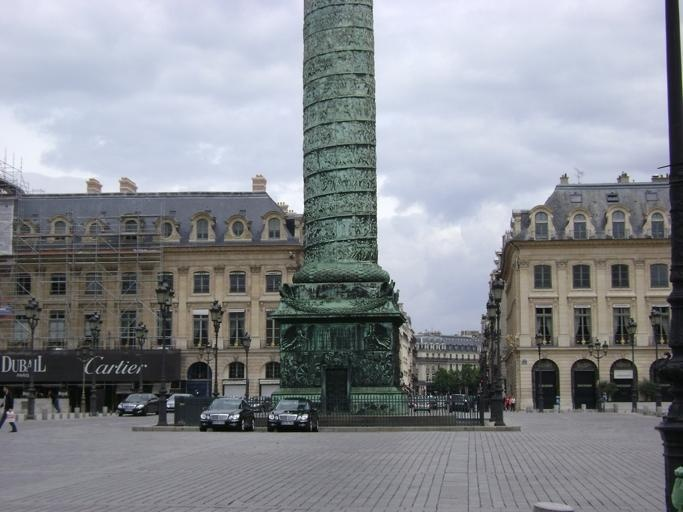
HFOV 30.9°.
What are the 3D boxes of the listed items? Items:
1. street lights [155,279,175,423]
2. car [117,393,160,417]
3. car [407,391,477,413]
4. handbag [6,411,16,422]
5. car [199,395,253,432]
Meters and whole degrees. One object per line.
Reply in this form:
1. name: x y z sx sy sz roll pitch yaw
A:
1. street lights: -9.392 5.236 65.274 0.963 7.706 0.820 -4 -2 -13
2. car: -10.731 7.723 64.815 1.738 1.331 2.856 -2 -11 8
3. car: 3.878 5.490 46.362 2.777 0.712 0.837 -9 -13 37
4. handbag: -11.463 5.481 42.619 0.265 0.388 0.597 3 -11 -19
5. car: -4.175 5.687 44.792 1.444 1.068 2.234 -1 -7 4
